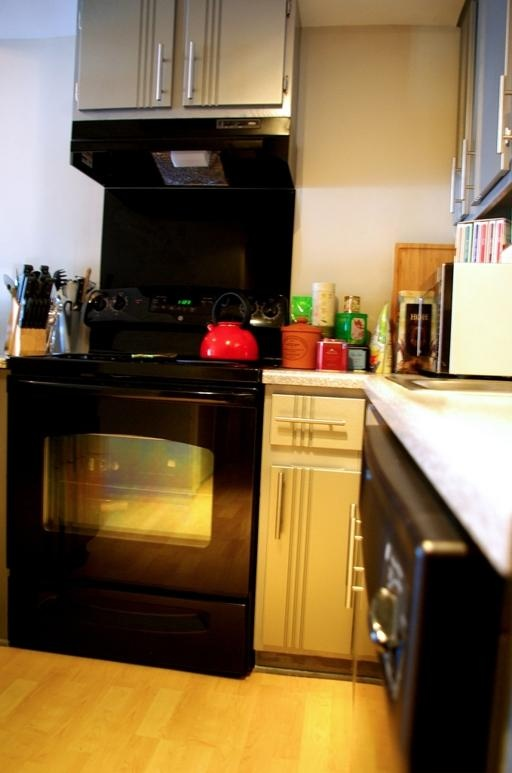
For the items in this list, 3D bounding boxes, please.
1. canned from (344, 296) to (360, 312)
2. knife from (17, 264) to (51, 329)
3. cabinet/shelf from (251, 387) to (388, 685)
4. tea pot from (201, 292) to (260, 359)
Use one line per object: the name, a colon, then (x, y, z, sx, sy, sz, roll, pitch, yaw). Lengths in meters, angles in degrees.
canned: (0.307, -0.262, 1.977, 0.050, 0.053, 0.080, 3, 3, 4)
knife: (-0.700, -0.286, 1.939, 0.103, 0.209, 0.205, 1, 3, -21)
cabinet/shelf: (0.133, 0.386, 1.550, 0.262, 0.773, 0.233, 2, 3, 1)
tea pot: (-0.086, -0.169, 1.875, 0.195, 0.230, 0.202, 1, 2, 0)
